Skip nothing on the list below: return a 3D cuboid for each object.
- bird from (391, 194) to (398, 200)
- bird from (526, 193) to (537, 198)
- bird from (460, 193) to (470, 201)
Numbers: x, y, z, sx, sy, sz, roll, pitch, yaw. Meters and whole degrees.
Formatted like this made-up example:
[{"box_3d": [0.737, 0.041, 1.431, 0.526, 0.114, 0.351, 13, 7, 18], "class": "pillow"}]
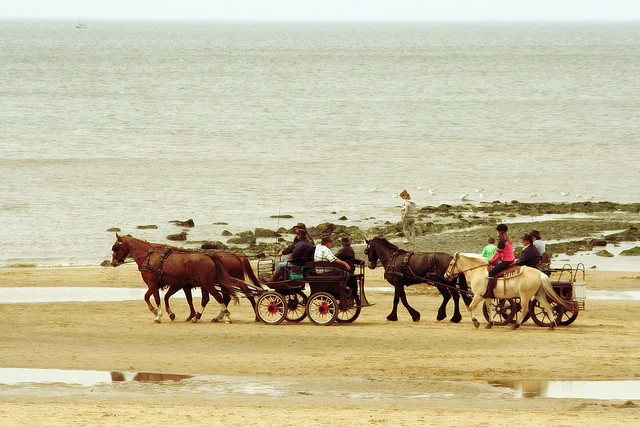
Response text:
[{"box_3d": [6.692, -1.287, 144.923, 0.396, 0.348, 1.035, 1, 12, -3], "class": "bird"}, {"box_3d": [18.874, -1.453, 144.428, 0.867, 0.389, 0.238, 16, -5, 33], "class": "bird"}, {"box_3d": [12.839, -1.328, 143.839, 0.366, 0.254, 0.892, 34, 27, 14], "class": "bird"}]
